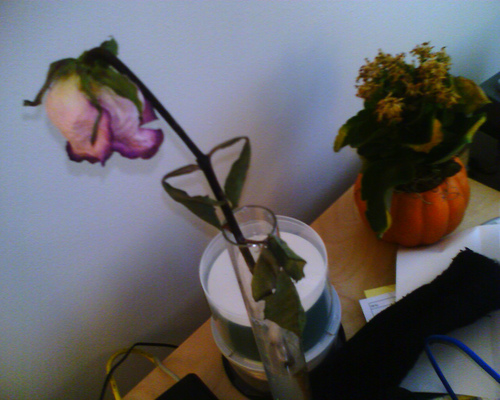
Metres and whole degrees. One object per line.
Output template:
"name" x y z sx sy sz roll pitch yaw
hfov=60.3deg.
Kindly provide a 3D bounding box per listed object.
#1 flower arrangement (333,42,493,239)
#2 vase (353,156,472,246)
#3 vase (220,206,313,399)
"flower arrangement" 0.256 -0.079 0.816 0.295 0.368 0.224 -31 49 -25
"vase" 0.344 -0.010 0.946 0.249 0.196 0.220 -9 14 -15
"vase" 0.027 0.170 0.673 0.096 0.387 0.233 -12 44 -6
